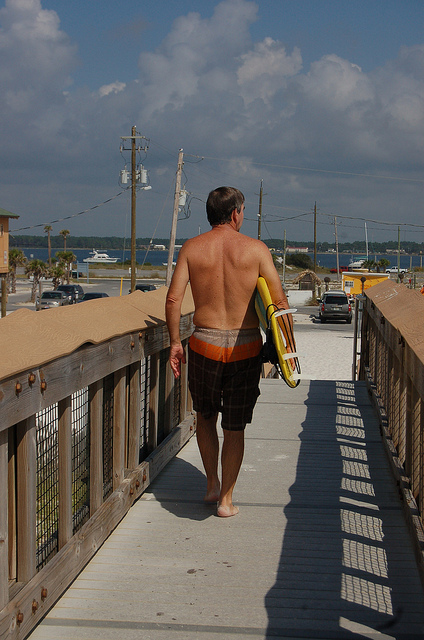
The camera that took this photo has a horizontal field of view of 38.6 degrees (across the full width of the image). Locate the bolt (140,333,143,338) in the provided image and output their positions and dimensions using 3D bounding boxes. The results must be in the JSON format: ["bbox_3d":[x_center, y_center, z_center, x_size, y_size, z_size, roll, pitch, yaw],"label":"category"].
[{"bbox_3d":[-0.372,0.085,3.200,0.012,0.016,0.015,-1,-9,-5],"label":"bolt"}]

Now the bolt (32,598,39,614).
[{"bbox_3d":[-0.533,0.878,1.830,0.026,0.035,0.010,5,4,-22],"label":"bolt"}]

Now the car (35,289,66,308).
[{"bbox_3d":[-8.943,-1.141,33.923,1.499,0.916,2.964,-1,1,-14],"label":"car"}]

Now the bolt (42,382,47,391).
[{"bbox_3d":[-0.512,0.207,1.860,0.016,0.017,0.019,1,0,2],"label":"bolt"}]

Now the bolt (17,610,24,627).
[{"bbox_3d":[-0.541,0.855,1.712,0.028,0.033,0.037,0,-13,-6],"label":"bolt"}]

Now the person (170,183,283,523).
[{"bbox_3d":[0.049,0.165,3.173,0.532,1.706,0.916,0,2,-5],"label":"person"}]

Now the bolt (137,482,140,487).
[{"bbox_3d":[-0.389,0.886,3.229,0.019,0.032,0.020,-2,7,-1],"label":"bolt"}]

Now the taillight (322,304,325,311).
[{"bbox_3d":[5.910,-0.649,32.437,0.114,0.338,0.271,0,1,2],"label":"taillight"}]

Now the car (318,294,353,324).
[{"bbox_3d":[6.593,-0.554,32.593,1.623,1.575,1.015,0,2,5],"label":"car"}]

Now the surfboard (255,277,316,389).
[{"bbox_3d":[0.315,0.069,2.854,0.226,0.543,0.437,0,1,4],"label":"surfboard"}]

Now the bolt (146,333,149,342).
[{"bbox_3d":[-0.357,0.101,3.349,0.033,0.047,0.014,-1,6,-26],"label":"bolt"}]

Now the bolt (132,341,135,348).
[{"bbox_3d":[-0.392,0.125,3.036,0.017,0.023,0.023,2,33,-5],"label":"bolt"}]

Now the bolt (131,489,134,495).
[{"bbox_3d":[-0.404,0.889,3.088,0.018,0.031,0.019,0,16,2],"label":"bolt"}]
